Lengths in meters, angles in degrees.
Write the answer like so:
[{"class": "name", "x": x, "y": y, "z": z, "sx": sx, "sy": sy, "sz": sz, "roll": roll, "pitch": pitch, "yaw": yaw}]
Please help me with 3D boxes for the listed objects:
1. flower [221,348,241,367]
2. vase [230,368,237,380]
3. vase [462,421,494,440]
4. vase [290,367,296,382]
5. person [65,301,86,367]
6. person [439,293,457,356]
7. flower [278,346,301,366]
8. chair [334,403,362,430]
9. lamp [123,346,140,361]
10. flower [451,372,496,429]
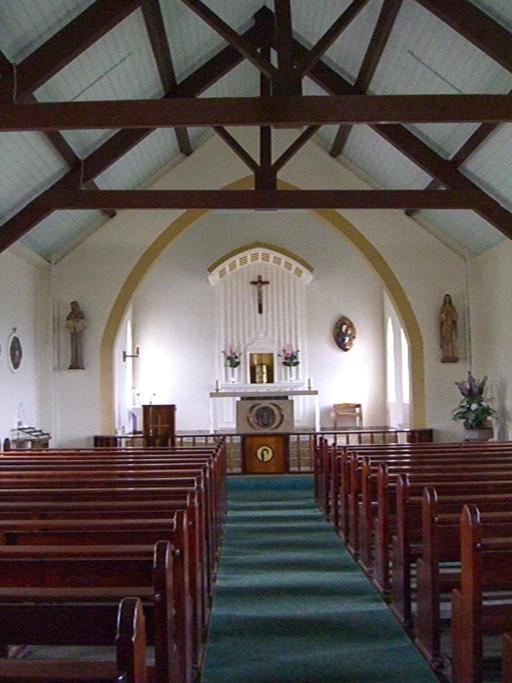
[{"class": "flower", "x": -0.493, "y": 0.329, "z": 13.681, "sx": 0.379, "sy": 0.294, "sz": 0.369, "roll": -1, "pitch": -12, "yaw": 12}, {"class": "vase", "x": -0.447, "y": 0.670, "z": 13.782, "sx": 0.140, "sy": 0.268, "sz": 0.161, "roll": -1, "pitch": -3, "yaw": -4}, {"class": "vase", "x": 2.971, "y": 1.146, "z": 8.998, "sx": 0.286, "sy": 0.161, "sz": 0.305, "roll": 2, "pitch": -5, "yaw": -9}, {"class": "vase", "x": 0.756, "y": 0.657, "z": 13.799, "sx": 0.119, "sy": 0.270, "sz": 0.098, "roll": -1, "pitch": -3, "yaw": -1}, {"class": "person", "x": -2.621, "y": -0.091, "z": 9.910, "sx": 0.276, "sy": 0.992, "sz": 0.238, "roll": 0, "pitch": -3, "yaw": -15}, {"class": "person", "x": 2.851, "y": -0.198, "z": 10.065, "sx": 0.281, "sy": 1.022, "sz": 0.186, "roll": -2, "pitch": -3, "yaw": 14}, {"class": "flower", "x": 0.677, "y": 0.291, "z": 13.650, "sx": 0.419, "sy": 0.359, "sz": 0.368, "roll": -3, "pitch": -4, "yaw": 10}, {"class": "chair", "x": 1.852, "y": 1.495, "z": 13.616, "sx": 0.539, "sy": 0.520, "sz": 0.457, "roll": -2, "pitch": -3, "yaw": 11}, {"class": "lamp", "x": -2.396, "y": 0.241, "z": 13.330, "sx": 0.357, "sy": 0.190, "sz": 0.299, "roll": 0, "pitch": -2, "yaw": 1}, {"class": "flower", "x": 3.021, "y": 0.803, "z": 9.379, "sx": 0.540, "sy": 0.730, "sz": 0.985, "roll": -2, "pitch": -3, "yaw": 18}]
